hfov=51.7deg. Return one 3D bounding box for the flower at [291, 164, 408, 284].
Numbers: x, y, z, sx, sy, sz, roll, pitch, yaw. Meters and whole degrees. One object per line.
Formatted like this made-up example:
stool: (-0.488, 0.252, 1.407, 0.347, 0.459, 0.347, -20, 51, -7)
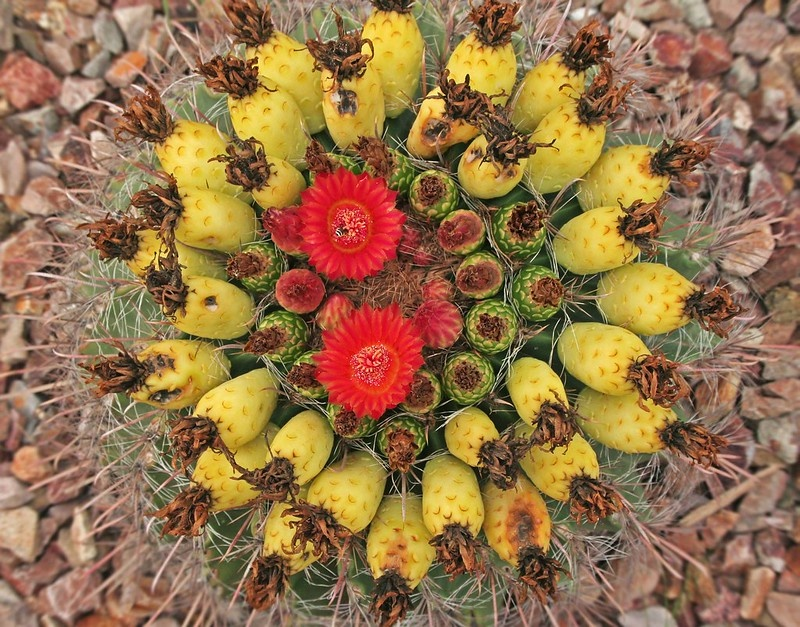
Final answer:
flower: (-0.231, -0.389, 3.738, 0.463, 0.263, 0.486, 17, 85, 1)
